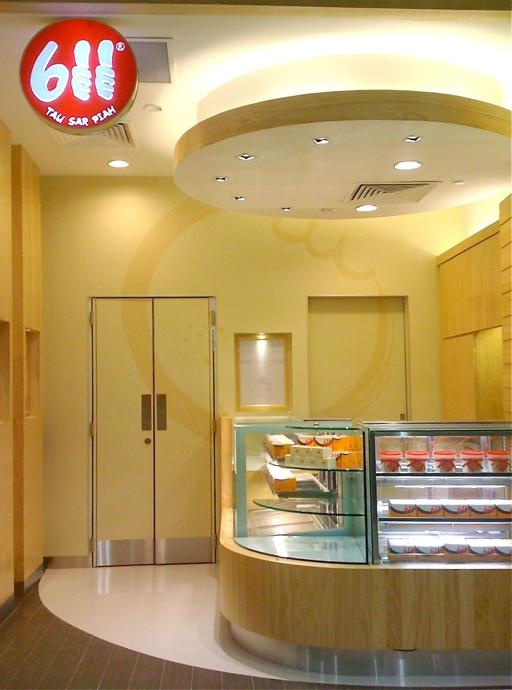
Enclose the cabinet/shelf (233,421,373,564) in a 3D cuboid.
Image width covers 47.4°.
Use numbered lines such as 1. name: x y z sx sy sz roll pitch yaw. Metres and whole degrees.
1. cabinet/shelf: 0.221 0.759 3.072 0.844 0.718 0.423 2 6 36
